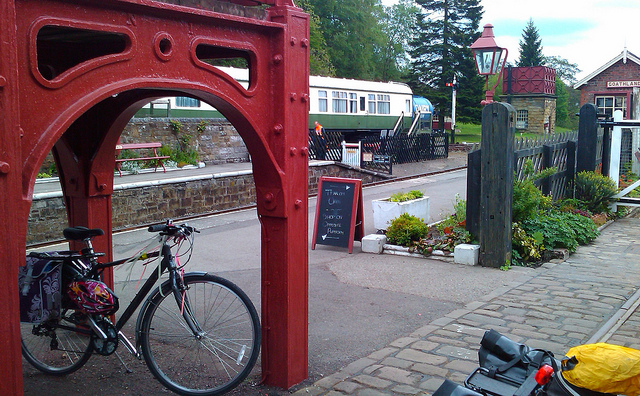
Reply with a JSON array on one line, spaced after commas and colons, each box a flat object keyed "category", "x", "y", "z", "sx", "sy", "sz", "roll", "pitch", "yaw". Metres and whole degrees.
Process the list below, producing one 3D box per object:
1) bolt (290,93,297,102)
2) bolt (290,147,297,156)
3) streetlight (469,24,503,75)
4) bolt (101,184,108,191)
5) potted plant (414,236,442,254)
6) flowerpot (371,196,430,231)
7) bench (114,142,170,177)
[{"category": "bolt", "x": -0.259, "y": -1.030, "z": 5.511, "sx": 0.028, "sy": 0.076, "sz": 0.097, "roll": 3, "pitch": 8, "yaw": 35}, {"category": "bolt", "x": -0.270, "y": -0.478, "z": 5.551, "sx": 0.034, "sy": 0.092, "sz": 0.076, "roll": 3, "pitch": 9, "yaw": 36}, {"category": "streetlight", "x": 4.220, "y": -3.767, "z": 13.535, "sx": 0.791, "sy": 1.199, "sz": 0.818, "roll": 3, "pitch": 11, "yaw": 19}, {"category": "bolt", "x": -2.637, "y": -0.135, "z": 6.639, "sx": 0.024, "sy": 0.067, "sz": 0.068, "roll": 3, "pitch": 9, "yaw": 38}, {"category": "potted plant", "x": 1.971, "y": 0.857, "z": 9.961, "sx": 0.461, "sy": 0.248, "sz": 0.548, "roll": -3, "pitch": 7, "yaw": -3}, {"category": "flowerpot", "x": 1.806, "y": 0.297, "z": 11.524, "sx": 1.355, "sy": 0.630, "sz": 0.651, "roll": -8, "pitch": 9, "yaw": -40}, {"category": "bench", "x": -5.966, "y": -1.219, "z": 17.671, "sx": 1.848, "sy": 0.816, "sz": 0.597, "roll": -11, "pitch": -16, "yaw": -44}]
